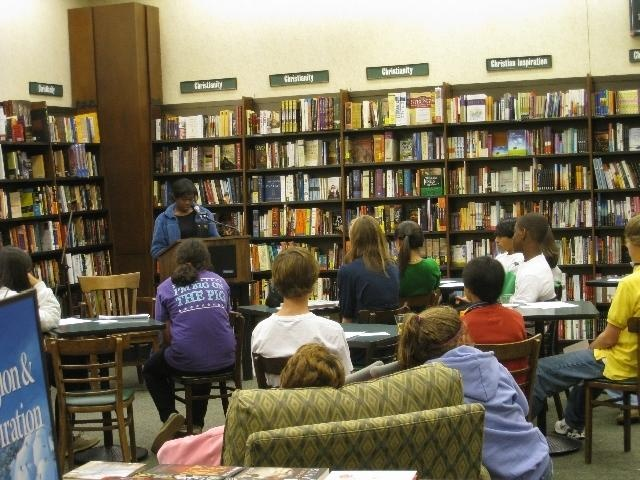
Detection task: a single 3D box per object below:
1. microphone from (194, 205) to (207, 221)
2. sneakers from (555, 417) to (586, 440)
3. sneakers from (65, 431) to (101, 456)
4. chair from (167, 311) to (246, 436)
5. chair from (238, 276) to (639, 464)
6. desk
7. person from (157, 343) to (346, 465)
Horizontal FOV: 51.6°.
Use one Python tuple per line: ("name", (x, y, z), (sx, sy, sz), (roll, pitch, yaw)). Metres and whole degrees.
("microphone", (-1.132, -0.262, 6.280), (0.118, 0.161, 0.305), (-6, 5, -11))
("sneakers", (1.632, 1.244, 4.354), (0.095, 0.097, 0.202), (-2, 13, -38))
("sneakers", (-1.667, 1.405, 4.627), (0.209, 0.106, 0.333), (-3, 0, -43))
("chair", (-0.727, 0.895, 4.448), (0.563, 0.748, 0.540), (-4, -3, 7))
("chair", (1.224, 0.556, 3.981), (1.532, 0.788, 1.524), (1, -2, -31))
("desk", (-1.355, 0.988, 4.005), (0.510, 0.846, 0.564), (-2, -3, -22))
("person", (-0.276, 0.620, 2.398), (0.268, 0.514, 0.854), (-9, 6, -43))
